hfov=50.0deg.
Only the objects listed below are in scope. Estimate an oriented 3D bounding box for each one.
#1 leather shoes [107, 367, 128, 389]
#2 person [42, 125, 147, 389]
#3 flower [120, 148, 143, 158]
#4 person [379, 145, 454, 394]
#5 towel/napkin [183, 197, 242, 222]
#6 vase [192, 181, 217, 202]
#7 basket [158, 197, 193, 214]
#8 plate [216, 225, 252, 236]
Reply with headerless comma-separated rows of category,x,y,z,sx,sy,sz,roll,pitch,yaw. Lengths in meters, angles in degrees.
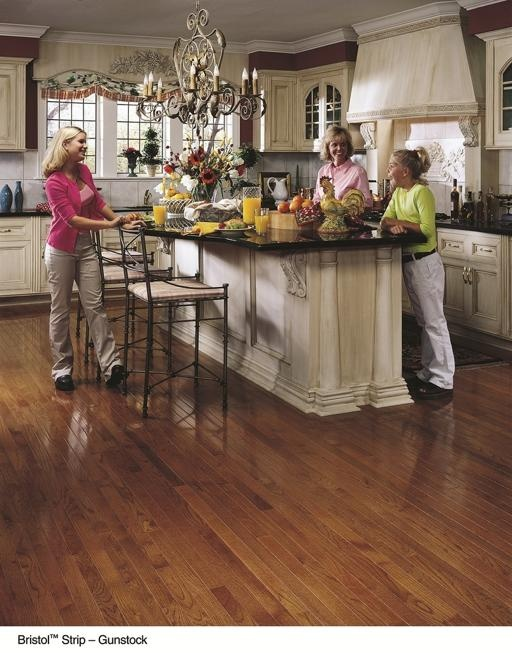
leather shoes,-0.913,0.333,3.619,0.051,0.165,0.125,20,-2,-8
person,-1.093,-0.409,3.508,0.604,1.634,0.522,-2,11,0
flower,-1.592,-2.242,7.132,0.187,0.100,0.174,2,4,6
person,1.003,-0.333,3.426,0.467,1.533,0.470,2,12,20
towel/napkin,-0.285,-0.807,3.809,0.226,0.156,0.443,6,13,33
vase,-0.370,-0.959,3.891,0.144,0.173,0.140,-1,16,-19
basket,-0.545,-0.839,3.816,0.189,0.075,0.184,-1,3,-7
plate,-0.121,-0.586,3.371,0.225,0.055,0.282,-3,11,-8
